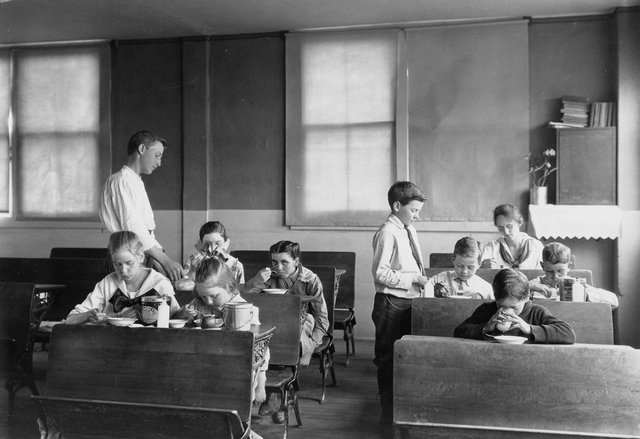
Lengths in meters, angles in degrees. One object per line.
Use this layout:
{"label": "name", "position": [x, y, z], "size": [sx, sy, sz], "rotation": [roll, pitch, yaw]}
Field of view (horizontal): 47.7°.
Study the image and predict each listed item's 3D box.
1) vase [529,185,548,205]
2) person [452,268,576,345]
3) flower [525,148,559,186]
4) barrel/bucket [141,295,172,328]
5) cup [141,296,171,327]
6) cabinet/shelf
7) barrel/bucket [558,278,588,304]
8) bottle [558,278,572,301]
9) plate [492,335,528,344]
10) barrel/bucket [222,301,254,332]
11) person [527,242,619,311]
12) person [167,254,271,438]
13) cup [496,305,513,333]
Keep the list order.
{"label": "vase", "position": [2.291, -0.248, 7.546], "size": [0.154, 0.192, 0.152], "rotation": [0, 4, 9]}
{"label": "person", "position": [1.238, 0.660, 4.578], "size": [0.737, 0.639, 0.395], "rotation": [-4, 12, 32]}
{"label": "flower", "position": [2.364, -0.543, 7.648], "size": [0.403, 0.479, 0.226], "rotation": [-2, -8, 35]}
{"label": "barrel/bucket", "position": [-1.016, 0.549, 4.415], "size": [0.165, 0.170, 0.160], "rotation": [4, 5, 0]}
{"label": "cup", "position": [-0.998, 0.557, 4.419], "size": [0.178, 0.181, 0.168], "rotation": [0, 5, 0]}
{"label": "cabinet/shelf", "position": [2.843, -0.574, 7.606], "size": [0.617, 0.815, 0.425], "rotation": [1, 15, 24]}
{"label": "barrel/bucket", "position": [1.738, 0.483, 4.973], "size": [0.210, 0.198, 0.119], "rotation": [2, -2, -35]}
{"label": "bottle", "position": [1.704, 0.480, 4.986], "size": [0.109, 0.182, 0.140], "rotation": [-1, -6, 26]}
{"label": "plate", "position": [1.128, 0.700, 4.244], "size": [0.209, 0.045, 0.127], "rotation": [0, 4, 1]}
{"label": "barrel/bucket", "position": [-0.482, 0.580, 4.327], "size": [0.204, 0.166, 0.182], "rotation": [3, 4, 31]}
{"label": "person", "position": [2.045, 0.458, 5.798], "size": [0.360, 0.807, 0.571], "rotation": [12, -19, -35]}
{"label": "person", "position": [-0.599, 0.825, 4.561], "size": [0.554, 1.169, 0.879], "rotation": [-1, 4, -10]}
{"label": "cup", "position": [1.139, 0.616, 4.437], "size": [0.099, 0.154, 0.152], "rotation": [0, 4, 13]}
